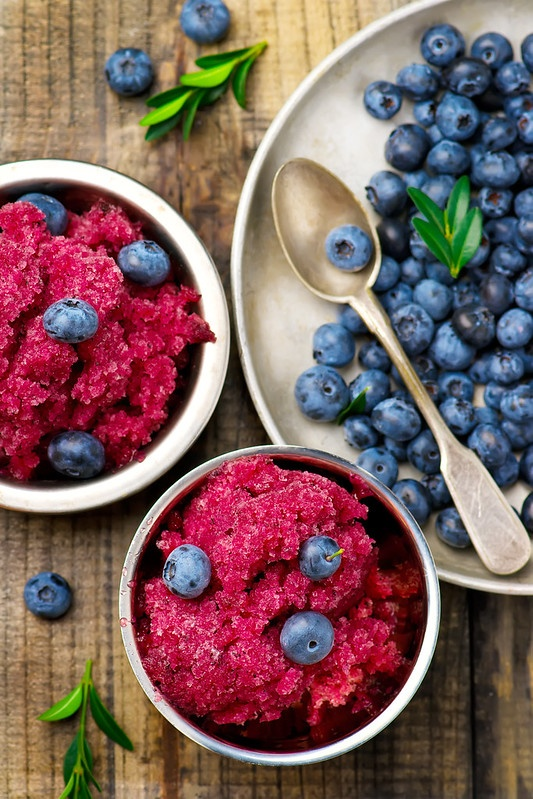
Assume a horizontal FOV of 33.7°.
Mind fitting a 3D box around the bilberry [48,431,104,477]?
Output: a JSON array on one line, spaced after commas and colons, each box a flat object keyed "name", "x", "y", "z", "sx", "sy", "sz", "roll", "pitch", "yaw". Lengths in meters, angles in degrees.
[{"name": "bilberry", "x": -0.254, "y": 0.074, "z": 1.187, "sx": 0.074, "sy": 0.056, "sz": 0.055, "roll": 32, "pitch": 84, "yaw": -3}]

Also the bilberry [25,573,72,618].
[{"name": "bilberry", "x": -0.335, "y": 0.302, "z": 1.354, "sx": 0.075, "sy": 0.038, "sz": 0.068, "roll": -9, "pitch": 95, "yaw": -9}]

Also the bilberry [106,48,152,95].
[{"name": "bilberry", "x": -0.218, "y": -0.521, "z": 1.400, "sx": 0.080, "sy": 0.039, "sz": 0.069, "roll": -3, "pitch": 96, "yaw": -4}]

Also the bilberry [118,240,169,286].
[{"name": "bilberry", "x": -0.176, "y": -0.190, "z": 1.260, "sx": 0.069, "sy": 0.036, "sz": 0.062, "roll": 20, "pitch": 64, "yaw": -22}]

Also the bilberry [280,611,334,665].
[{"name": "bilberry", "x": 0.048, "y": 0.276, "z": 1.015, "sx": 0.046, "sy": 0.062, "sz": 0.056, "roll": 0, "pitch": 88, "yaw": 16}]

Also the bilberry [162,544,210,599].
[{"name": "bilberry", "x": -0.095, "y": 0.201, "z": 1.050, "sx": 0.056, "sy": 0.039, "sz": 0.062, "roll": -2, "pitch": 63, "yaw": 0}]

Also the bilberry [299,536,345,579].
[{"name": "bilberry", "x": 0.065, "y": 0.187, "z": 1.038, "sx": 0.054, "sy": 0.070, "sz": 0.047, "roll": 12, "pitch": 83, "yaw": -15}]

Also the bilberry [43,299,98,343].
[{"name": "bilberry", "x": -0.258, "y": -0.102, "z": 1.167, "sx": 0.063, "sy": 0.058, "sz": 0.058, "roll": -11, "pitch": 53, "yaw": -30}]
